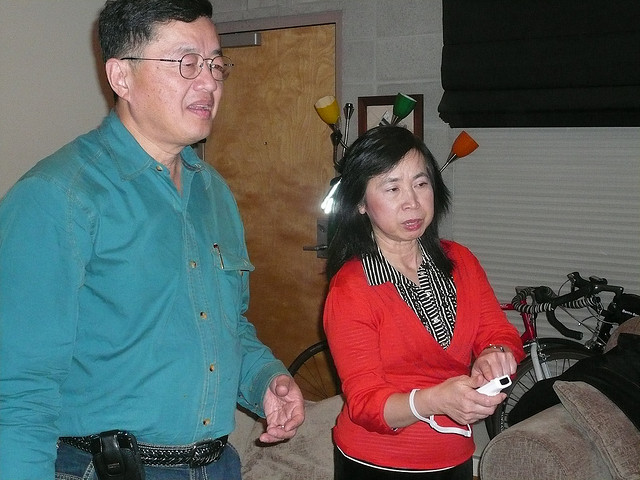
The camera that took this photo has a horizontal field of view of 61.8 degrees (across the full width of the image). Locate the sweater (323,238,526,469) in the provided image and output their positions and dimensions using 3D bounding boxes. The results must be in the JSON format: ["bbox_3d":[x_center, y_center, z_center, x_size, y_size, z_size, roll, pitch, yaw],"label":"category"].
[{"bbox_3d":[0.393,0.346,1.723,0.578,0.636,0.420,-14,0,18],"label":"sweater"}]

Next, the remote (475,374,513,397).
[{"bbox_3d":[0.475,0.393,1.454,0.113,0.052,0.044,-9,15,-24],"label":"remote"}]

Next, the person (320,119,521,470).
[{"bbox_3d":[0.330,0.209,1.690,0.639,1.114,0.603,-2,13,3],"label":"person"}]
